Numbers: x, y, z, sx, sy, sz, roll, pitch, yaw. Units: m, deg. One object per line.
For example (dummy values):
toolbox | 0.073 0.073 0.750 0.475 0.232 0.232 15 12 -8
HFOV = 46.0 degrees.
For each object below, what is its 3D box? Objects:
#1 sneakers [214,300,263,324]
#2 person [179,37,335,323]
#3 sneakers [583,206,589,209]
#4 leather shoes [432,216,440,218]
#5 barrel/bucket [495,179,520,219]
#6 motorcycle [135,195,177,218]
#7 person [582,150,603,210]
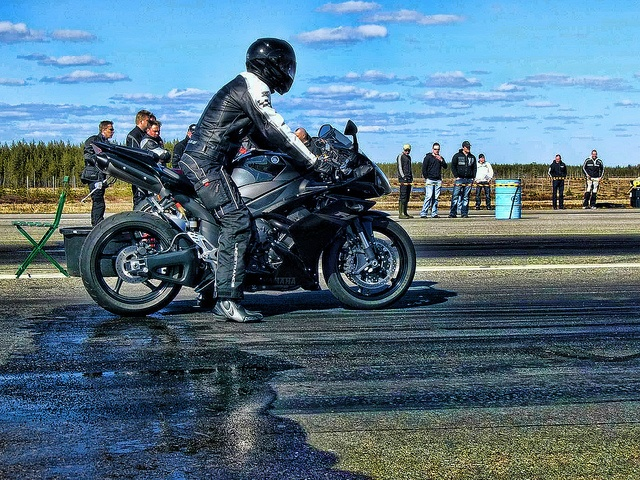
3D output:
sneakers | -0.699 0.681 7.102 0.621 0.205 0.167 0 8 0
person | -0.712 -0.395 7.191 1.201 2.337 0.567 -1 9 -9
sneakers | 10.656 -1.274 30.306 0.243 0.075 0.114 3 22 10
leather shoes | 3.566 -0.680 23.250 0.125 0.075 0.251 4 -1 -22
barrel/bucket | 5.694 -1.203 22.840 0.804 1.164 0.961 2 9 10
motorcycle | -1.701 -0.345 7.680 0.426 0.094 0.392 5 -6 -36
person | 10.651 -2.285 29.577 0.709 2.254 1.406 3 9 17
